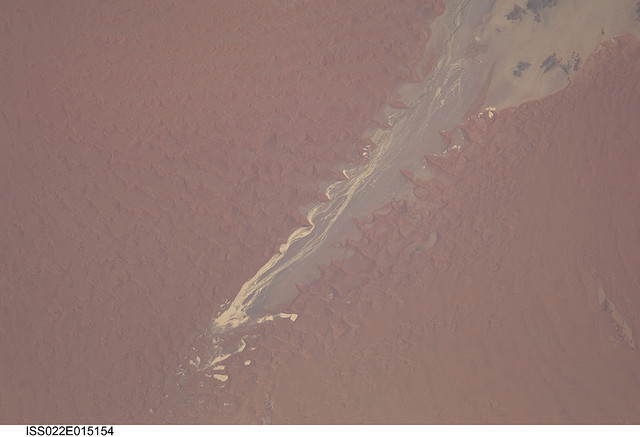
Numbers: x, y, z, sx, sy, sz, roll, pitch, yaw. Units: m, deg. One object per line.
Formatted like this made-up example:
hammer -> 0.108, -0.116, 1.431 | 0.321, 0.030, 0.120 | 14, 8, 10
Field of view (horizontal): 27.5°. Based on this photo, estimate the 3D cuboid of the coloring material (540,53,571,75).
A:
coloring material -> 1.179, -0.806, 6.583 | 0.115, 0.107, 0.008 | -6, 1, 1
